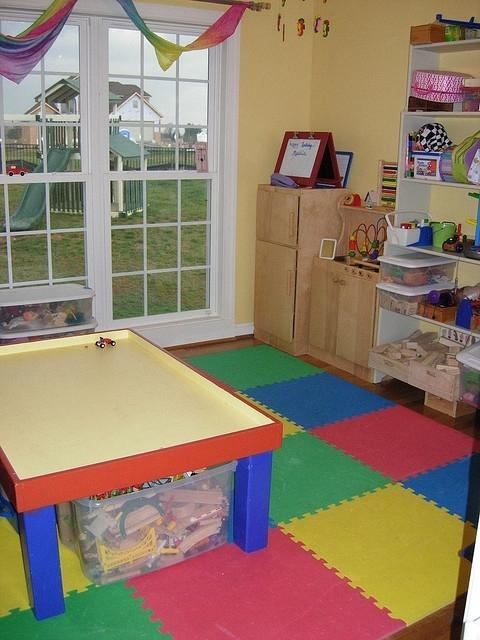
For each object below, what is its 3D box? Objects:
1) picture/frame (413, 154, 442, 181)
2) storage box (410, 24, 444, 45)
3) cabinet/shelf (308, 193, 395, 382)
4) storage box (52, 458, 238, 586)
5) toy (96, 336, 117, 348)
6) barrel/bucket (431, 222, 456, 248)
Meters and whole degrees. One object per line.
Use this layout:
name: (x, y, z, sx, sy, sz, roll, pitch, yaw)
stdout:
picture/frame: (1.049, -0.847, 2.867, 0.017, 0.133, 0.157, -11, 21, -27)
storage box: (1.018, -1.547, 2.811, 0.148, 0.088, 0.148, -12, 26, -17)
cabinet/shelf: (0.825, -0.233, 3.552, 0.391, 1.136, 0.656, -11, 19, -35)
storage box: (-0.281, 0.565, 1.561, 0.459, 0.236, 0.351, -10, 17, -32)
toy: (-0.557, 0.093, 2.141, 0.069, 0.043, 0.040, -1, 11, 2)
barrel/bucket: (1.171, -0.495, 3.012, 0.155, 0.159, 0.145, 1, 12, 0)
